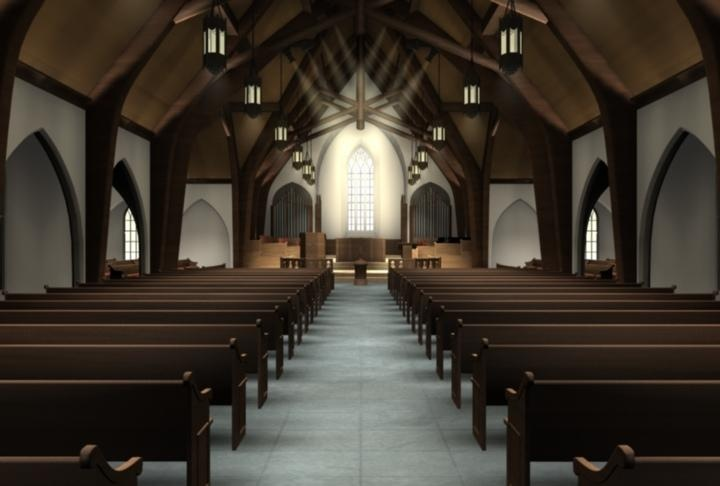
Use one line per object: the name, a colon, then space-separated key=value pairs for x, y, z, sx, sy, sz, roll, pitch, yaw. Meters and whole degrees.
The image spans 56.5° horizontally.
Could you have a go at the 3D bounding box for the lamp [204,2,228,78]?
lamp: x=-2.314 y=-3.212 z=10.568 sx=0.307 sy=0.970 sz=0.336 roll=-1 pitch=5 yaw=-5
